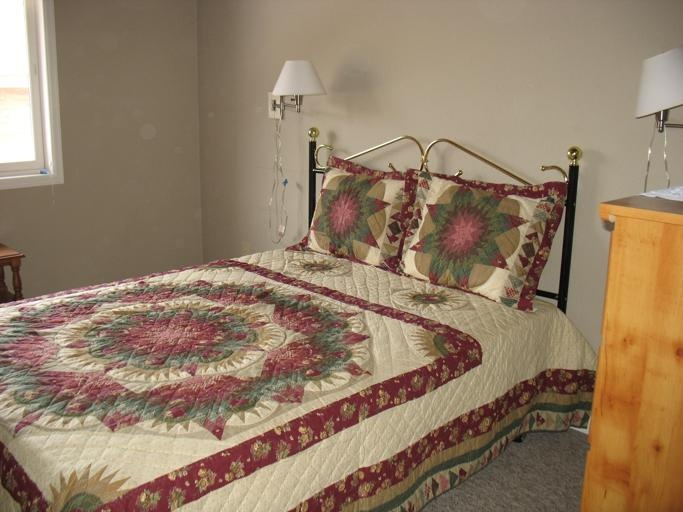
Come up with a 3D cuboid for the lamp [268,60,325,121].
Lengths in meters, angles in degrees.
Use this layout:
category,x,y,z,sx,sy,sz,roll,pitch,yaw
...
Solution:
category,x,y,z,sx,sy,sz,roll,pitch,yaw
lamp,-0.291,-1.032,3.155,0.372,0.359,0.330,16,23,40
